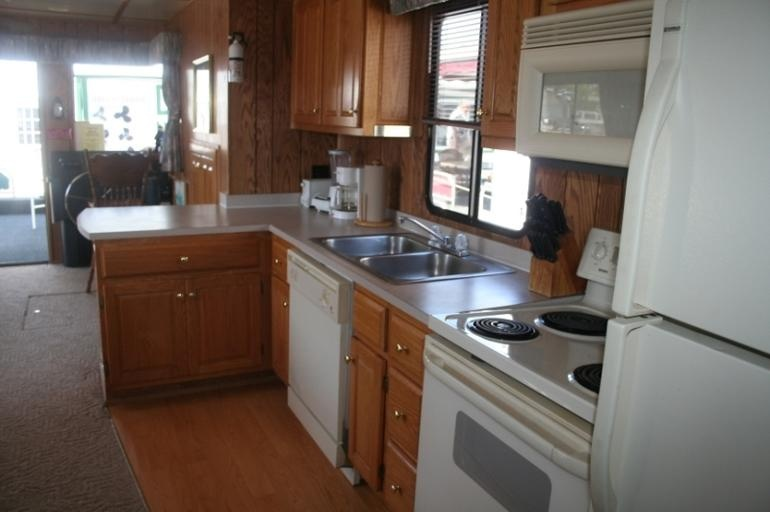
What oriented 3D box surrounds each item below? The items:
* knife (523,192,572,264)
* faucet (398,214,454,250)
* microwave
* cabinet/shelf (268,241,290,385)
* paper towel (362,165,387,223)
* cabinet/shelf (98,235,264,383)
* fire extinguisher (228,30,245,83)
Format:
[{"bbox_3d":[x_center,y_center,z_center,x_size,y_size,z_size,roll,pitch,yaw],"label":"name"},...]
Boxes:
[{"bbox_3d":[0.667,-0.108,2.218,0.168,0.274,0.138,3,13,15],"label":"knife"},{"bbox_3d":[0.213,-0.156,3.134,0.249,0.156,0.528,-2,13,-8],"label":"faucet"},{"bbox_3d":[0.658,-0.494,1.747,0.227,0.369,0.446,-12,23,-31],"label":"microwave"},{"bbox_3d":[-0.643,0.328,3.350,0.111,0.860,0.352,-5,14,-19],"label":"cabinet/shelf"},{"bbox_3d":[-0.081,-0.389,3.442,0.177,0.364,0.128,1,13,8],"label":"paper towel"},{"bbox_3d":[-1.275,0.299,3.305,0.849,0.800,0.344,-4,10,-22],"label":"cabinet/shelf"},{"bbox_3d":[-1.049,-1.380,3.813,0.126,0.345,0.109,-4,13,-13],"label":"fire extinguisher"}]
